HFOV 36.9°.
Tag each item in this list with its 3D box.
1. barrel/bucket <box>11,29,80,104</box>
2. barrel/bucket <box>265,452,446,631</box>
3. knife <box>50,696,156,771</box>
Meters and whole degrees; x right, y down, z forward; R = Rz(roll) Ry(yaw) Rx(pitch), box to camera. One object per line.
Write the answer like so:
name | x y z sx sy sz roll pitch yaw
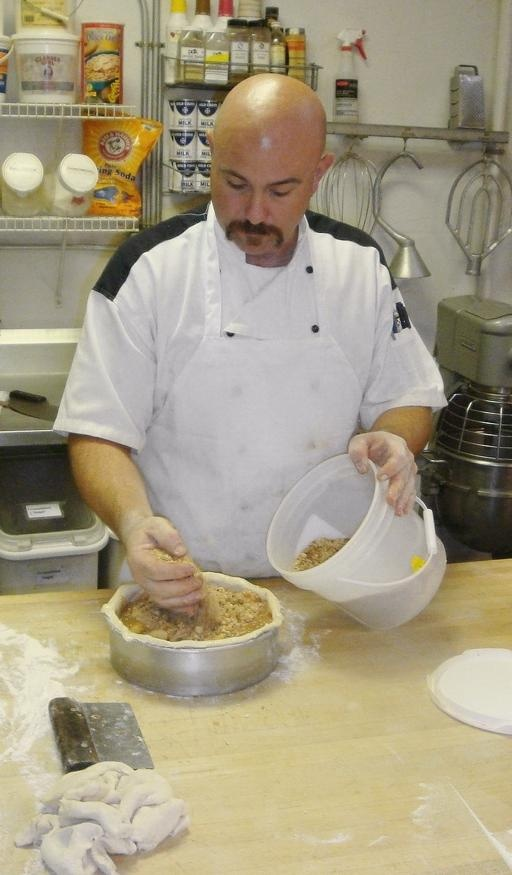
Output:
barrel/bucket | -0.523 -0.924 1.982 0.191 0.155 0.187 1 7 0
barrel/bucket | 0.133 0.162 1.045 0.237 0.247 0.265 4 12 1
knife | -0.163 0.311 0.801 0.059 0.016 0.078 2 17 -18
